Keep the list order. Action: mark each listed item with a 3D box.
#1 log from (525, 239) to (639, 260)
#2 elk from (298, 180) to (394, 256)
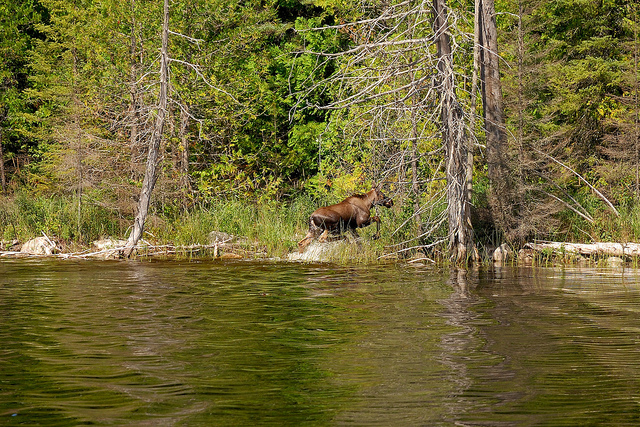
[{"bbox_3d":[9.263,1.244,34.951,3.387,0.668,0.638,0,-4,15],"label":"log"},{"bbox_3d":[0.917,0.100,36.156,3.105,2.054,1.495,1,-4,-2],"label":"elk"}]
